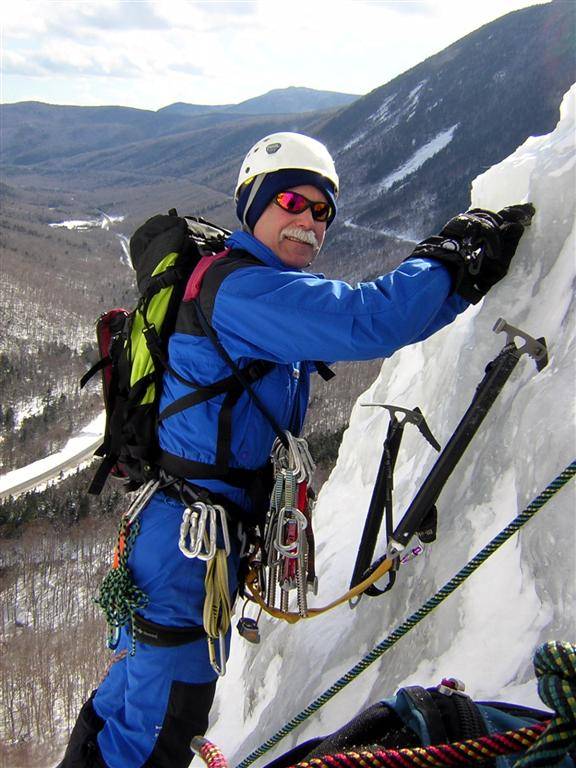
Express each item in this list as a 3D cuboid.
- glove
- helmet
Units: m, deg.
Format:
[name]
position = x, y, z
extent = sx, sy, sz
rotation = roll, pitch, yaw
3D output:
[glove]
position = 0.724, -0.530, 2.745
extent = 0.483, 0.215, 0.354
rotation = -45, 9, -21
[helmet]
position = 0.001, -0.913, 2.968
extent = 0.331, 0.234, 0.235
rotation = 25, -11, 5
